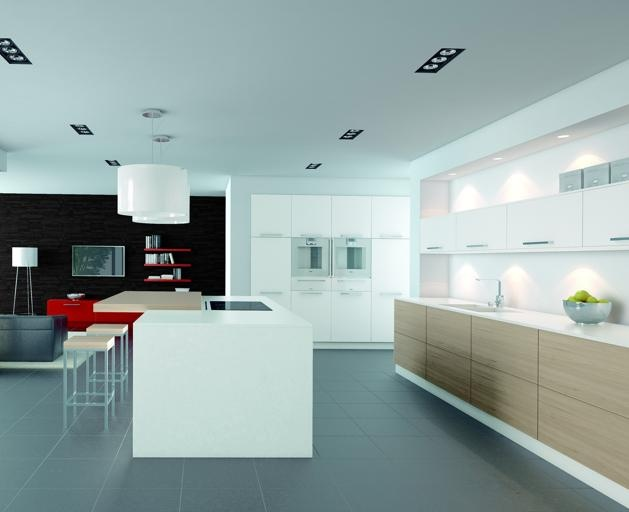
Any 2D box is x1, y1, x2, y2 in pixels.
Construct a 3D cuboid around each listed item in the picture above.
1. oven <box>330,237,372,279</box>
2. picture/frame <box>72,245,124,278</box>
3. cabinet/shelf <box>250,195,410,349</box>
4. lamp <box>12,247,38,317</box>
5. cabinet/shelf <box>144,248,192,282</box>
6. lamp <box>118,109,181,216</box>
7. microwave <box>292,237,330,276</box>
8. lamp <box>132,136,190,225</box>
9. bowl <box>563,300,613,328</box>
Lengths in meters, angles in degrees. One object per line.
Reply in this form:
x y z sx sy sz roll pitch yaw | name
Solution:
0.571 0.031 7.583 0.833 0.623 0.402 0 -5 -3 | oven
-4.440 0.095 9.627 0.093 0.649 1.084 -1 -2 41 | picture/frame
0.164 0.224 7.007 3.176 2.352 0.917 0 -3 -4 | cabinet/shelf
-5.822 0.497 9.364 0.437 1.374 0.744 1 2 -29 | lamp
-3.074 0.201 9.739 0.957 0.598 0.293 1 -5 -18 | cabinet/shelf
-1.528 -0.864 4.468 0.566 0.969 1.051 1 2 -15 | lamp
-0.124 0.082 7.787 0.963 0.769 0.611 1 -4 -4 | microwave
-1.394 -0.804 4.209 0.575 0.514 0.506 7 16 8 | lamp
2.064 0.426 3.499 0.258 0.115 0.229 2 -1 7 | bowl
